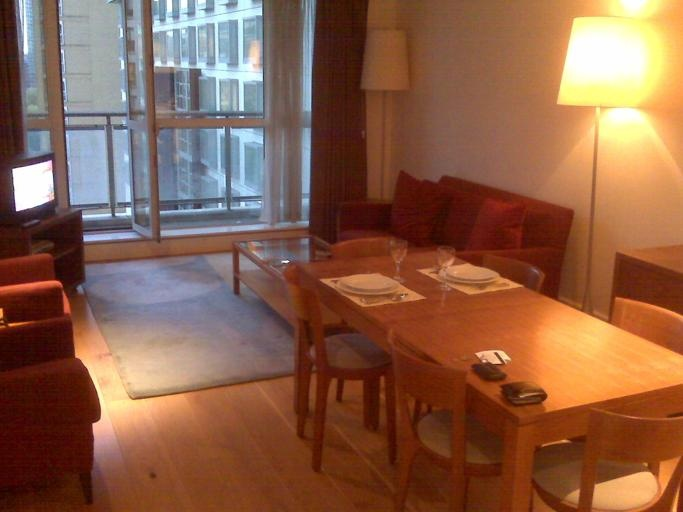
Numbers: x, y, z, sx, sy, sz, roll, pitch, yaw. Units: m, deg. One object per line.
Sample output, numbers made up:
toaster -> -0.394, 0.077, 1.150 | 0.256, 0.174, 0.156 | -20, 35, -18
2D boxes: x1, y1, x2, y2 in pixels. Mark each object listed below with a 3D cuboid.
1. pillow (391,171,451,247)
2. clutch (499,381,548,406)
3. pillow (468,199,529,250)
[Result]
pillow -> 0.639, -0.386, 4.783 | 0.172, 0.563, 0.564 | 1, 19, -30
clutch -> 0.548, 0.407, 1.663 | 0.080, 0.022, 0.074 | -1, 14, -6
pillow -> 1.047, -0.186, 3.740 | 0.105, 0.351, 0.378 | 8, 6, -26
